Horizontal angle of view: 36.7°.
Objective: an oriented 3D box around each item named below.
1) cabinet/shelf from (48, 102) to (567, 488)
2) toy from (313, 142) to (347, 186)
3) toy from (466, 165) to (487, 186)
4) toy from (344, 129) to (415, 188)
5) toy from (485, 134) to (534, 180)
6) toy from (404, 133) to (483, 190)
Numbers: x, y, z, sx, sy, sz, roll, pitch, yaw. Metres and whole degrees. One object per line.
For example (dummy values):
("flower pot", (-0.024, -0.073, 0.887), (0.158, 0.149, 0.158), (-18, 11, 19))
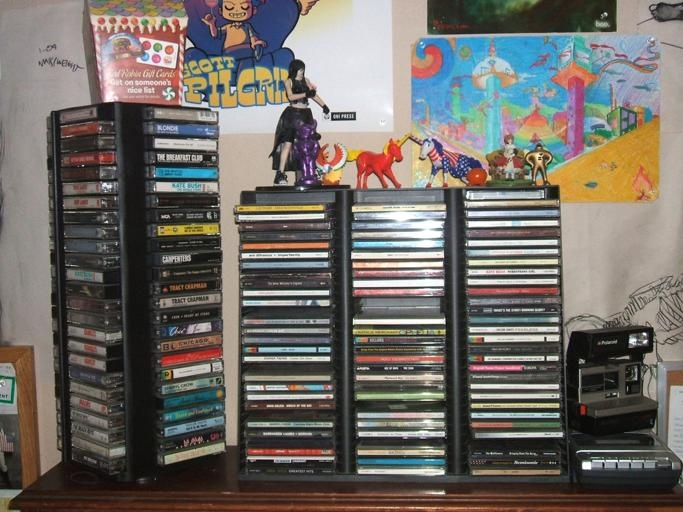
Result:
("cabinet/shelf", (-0.121, 0.187, 3.857), (1.864, 1.045, 0.535), (0, 0, 0))
("toy", (-0.037, -0.346, 4.084), (0.159, 0.109, 0.063), (-4, -1, 45))
("toy", (0.514, -0.301, 3.911), (0.084, 0.069, 0.068), (-5, -25, -7))
("toy", (0.137, -0.371, 4.065), (0.309, 0.185, 0.105), (4, 5, 43))
("toy", (0.657, -0.385, 4.010), (0.243, 0.201, 0.059), (-1, -5, 0))
("toy", (0.418, -0.369, 4.092), (0.397, 0.181, 0.112), (2, 0, -42))
